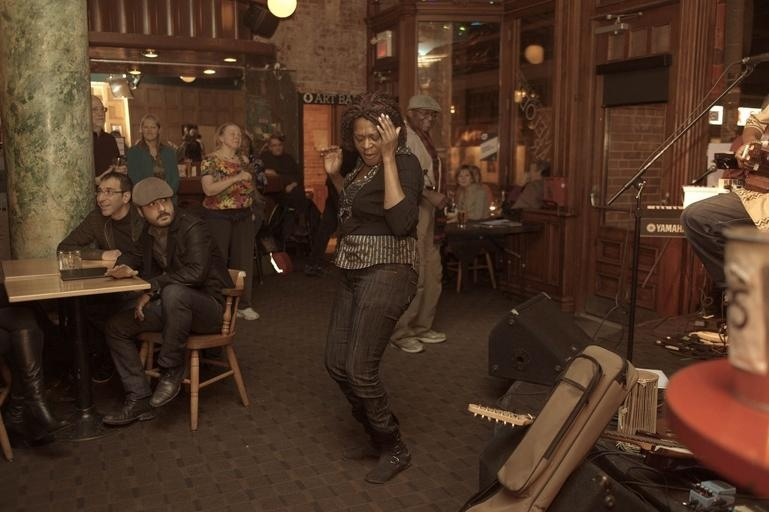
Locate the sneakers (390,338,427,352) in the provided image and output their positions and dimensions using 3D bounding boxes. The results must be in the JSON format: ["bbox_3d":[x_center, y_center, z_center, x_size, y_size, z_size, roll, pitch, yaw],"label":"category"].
[{"bbox_3d":[0.234,0.815,5.627,0.255,0.097,0.129,-1,0,41],"label":"sneakers"}]

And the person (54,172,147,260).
[{"bbox_3d":[-2.254,-0.288,4.797,0.590,0.754,0.428,10,13,9],"label":"person"}]

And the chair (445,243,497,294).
[{"bbox_3d":[1.188,0.061,7.948,0.375,0.496,0.470,15,-5,-10],"label":"chair"}]

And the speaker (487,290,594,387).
[{"bbox_3d":[1.091,0.532,4.372,0.710,0.527,0.707,2,4,24],"label":"speaker"}]

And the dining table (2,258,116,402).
[{"bbox_3d":[-2.295,0.511,4.255,0.571,0.517,1.088,-1,5,-32],"label":"dining table"}]

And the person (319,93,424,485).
[{"bbox_3d":[-0.064,0.211,3.547,0.549,2.220,0.558,1,13,4],"label":"person"}]

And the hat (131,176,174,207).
[{"bbox_3d":[-1.657,-0.456,4.336,0.257,0.198,0.252,-5,13,-19],"label":"hat"}]

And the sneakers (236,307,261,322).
[{"bbox_3d":[-1.469,0.635,6.592,0.223,0.090,0.122,4,6,26],"label":"sneakers"}]

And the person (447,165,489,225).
[{"bbox_3d":[1.082,-0.826,8.094,0.517,0.731,0.668,4,11,34],"label":"person"}]

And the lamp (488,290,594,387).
[{"bbox_3d":[1.126,0.575,4.417,0.802,0.446,0.779,-10,8,-30],"label":"lamp"}]

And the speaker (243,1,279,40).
[{"bbox_3d":[-2.233,-4.178,10.859,0.383,0.363,0.657,29,3,-10],"label":"speaker"}]

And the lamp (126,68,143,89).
[{"bbox_3d":[-3.580,-2.522,8.685,0.288,0.264,0.195,2,1,-32],"label":"lamp"}]

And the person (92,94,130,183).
[{"bbox_3d":[-3.373,-1.471,7.354,0.324,0.936,1.958,-6,14,-24],"label":"person"}]

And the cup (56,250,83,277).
[{"bbox_3d":[-2.095,0.056,4.054,0.161,0.154,0.162,-5,-10,-1],"label":"cup"}]

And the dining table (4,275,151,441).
[{"bbox_3d":[-2.030,0.669,4.194,1.081,1.008,1.069,-2,5,-20],"label":"dining table"}]

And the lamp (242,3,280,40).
[{"bbox_3d":[-2.227,-4.178,10.868,0.387,0.376,0.662,31,10,-13],"label":"lamp"}]

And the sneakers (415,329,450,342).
[{"bbox_3d":[0.460,0.774,5.886,0.226,0.086,0.126,0,2,8],"label":"sneakers"}]

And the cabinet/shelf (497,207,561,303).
[{"bbox_3d":[1.734,0.007,7.224,0.435,1.038,1.179,-2,4,-17],"label":"cabinet/shelf"}]
